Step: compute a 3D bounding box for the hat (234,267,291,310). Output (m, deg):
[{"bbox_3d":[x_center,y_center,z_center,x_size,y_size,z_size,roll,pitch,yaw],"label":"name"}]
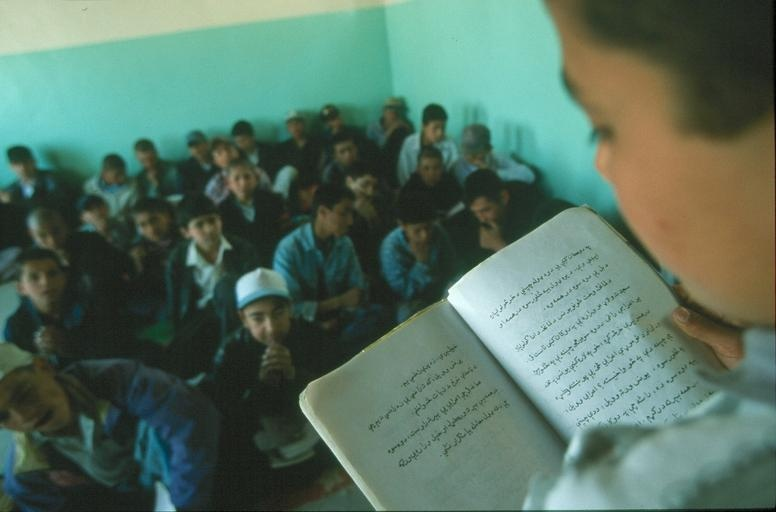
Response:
[{"bbox_3d":[-0.292,0.070,1.658,0.109,0.089,0.180,-10,-8,-17],"label":"hat"}]
